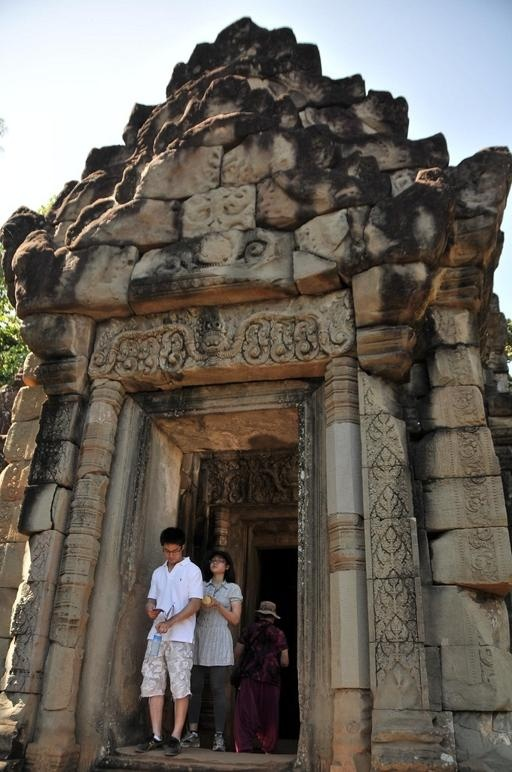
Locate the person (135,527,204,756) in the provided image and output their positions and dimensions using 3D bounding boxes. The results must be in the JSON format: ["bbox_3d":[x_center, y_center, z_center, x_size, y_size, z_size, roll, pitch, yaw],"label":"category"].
[{"bbox_3d":[-0.536,1.551,3.250,0.342,1.291,0.604,7,-24,-10],"label":"person"}]

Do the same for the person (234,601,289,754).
[{"bbox_3d":[0.052,2.095,3.802,0.309,1.070,0.316,4,-1,2],"label":"person"}]

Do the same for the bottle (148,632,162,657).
[{"bbox_3d":[-0.629,1.593,3.184,0.080,0.151,0.284,7,-26,-9],"label":"bottle"}]
